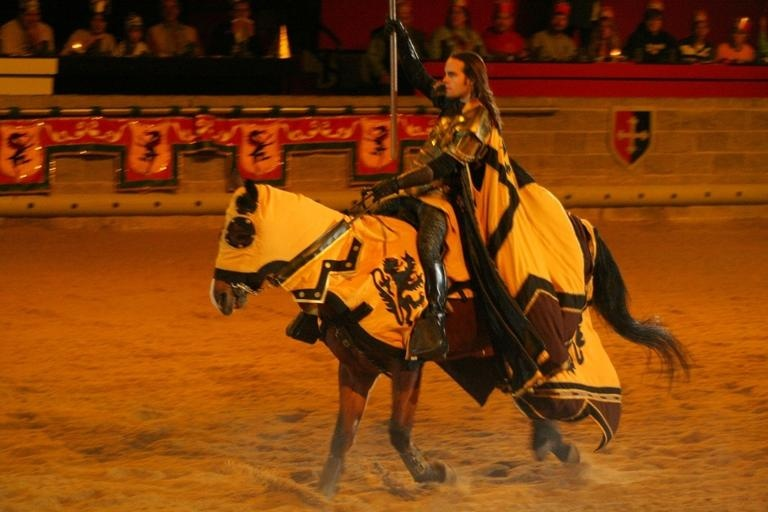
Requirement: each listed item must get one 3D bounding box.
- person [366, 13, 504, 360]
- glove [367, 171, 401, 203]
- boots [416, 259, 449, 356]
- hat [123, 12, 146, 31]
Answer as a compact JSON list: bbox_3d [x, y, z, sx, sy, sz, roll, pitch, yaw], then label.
[{"bbox_3d":[0.450,-0.584,6.812,0.935,2.751,1.350,1,11,0],"label":"person"},{"bbox_3d":[0.002,-0.531,6.649,0.264,0.092,0.167,-21,22,21],"label":"glove"},{"bbox_3d":[0.388,0.448,6.512,0.233,0.760,0.382,6,12,21],"label":"boots"},{"bbox_3d":[-3.991,-3.713,13.274,0.243,0.252,0.260,-3,10,-21],"label":"hat"}]
